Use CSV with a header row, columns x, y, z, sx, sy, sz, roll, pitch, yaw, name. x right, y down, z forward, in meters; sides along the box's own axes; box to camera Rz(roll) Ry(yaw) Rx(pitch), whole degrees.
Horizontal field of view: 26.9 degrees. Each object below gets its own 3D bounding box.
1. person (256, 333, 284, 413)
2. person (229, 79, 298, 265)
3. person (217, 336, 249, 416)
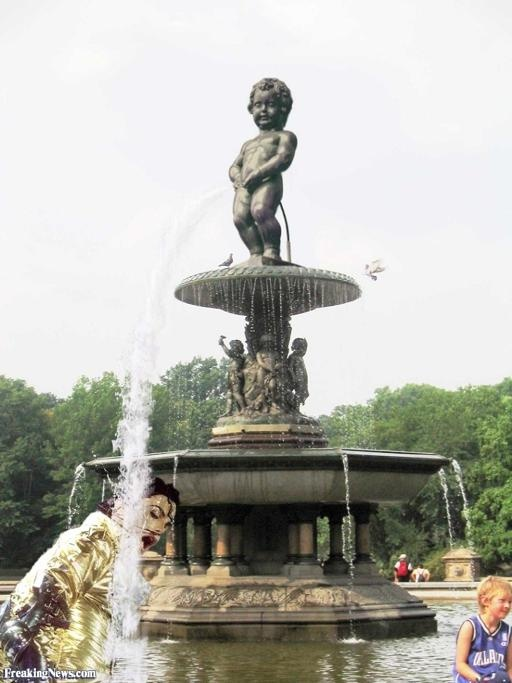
x,y,z,sx,sy,sz,roll,pitch,yaw,name
0.173,0.462,15.128,0.373,1.173,0.275,-2,-15,6,person
0.113,-2.507,15.919,1.053,3.013,0.619,-9,-17,28,person
-0.286,0.532,15.335,0.315,1.123,0.458,0,-15,-2,person
